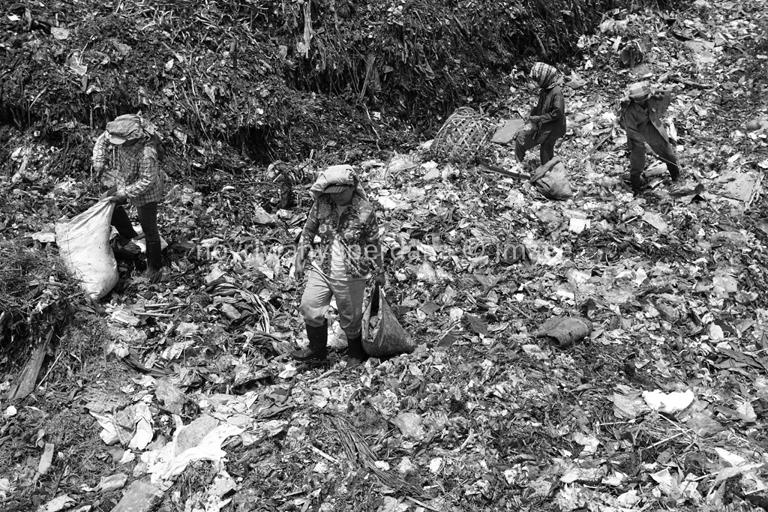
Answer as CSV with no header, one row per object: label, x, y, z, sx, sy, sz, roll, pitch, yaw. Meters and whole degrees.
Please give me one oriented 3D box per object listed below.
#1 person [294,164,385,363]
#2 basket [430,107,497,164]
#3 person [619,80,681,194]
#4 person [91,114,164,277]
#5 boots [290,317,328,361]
person,-0.573,0.164,7.846,0.994,2.636,0.770,-3,27,-12
basket,1.228,-1.869,10.416,0.935,0.681,0.632,-24,34,-30
person,3.935,-1.804,9.796,0.759,1.718,0.667,-15,31,11
person,-3.329,-0.692,8.538,0.921,2.069,0.730,43,42,13
boots,-0.854,1.098,8.016,0.588,0.654,0.312,5,45,-8
